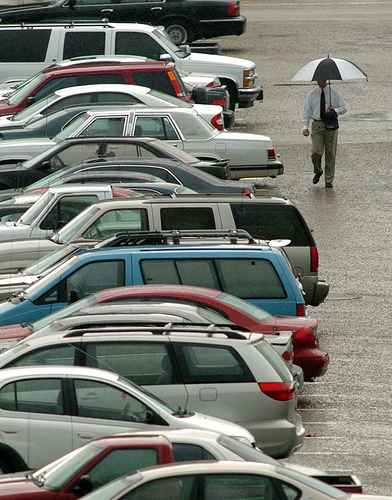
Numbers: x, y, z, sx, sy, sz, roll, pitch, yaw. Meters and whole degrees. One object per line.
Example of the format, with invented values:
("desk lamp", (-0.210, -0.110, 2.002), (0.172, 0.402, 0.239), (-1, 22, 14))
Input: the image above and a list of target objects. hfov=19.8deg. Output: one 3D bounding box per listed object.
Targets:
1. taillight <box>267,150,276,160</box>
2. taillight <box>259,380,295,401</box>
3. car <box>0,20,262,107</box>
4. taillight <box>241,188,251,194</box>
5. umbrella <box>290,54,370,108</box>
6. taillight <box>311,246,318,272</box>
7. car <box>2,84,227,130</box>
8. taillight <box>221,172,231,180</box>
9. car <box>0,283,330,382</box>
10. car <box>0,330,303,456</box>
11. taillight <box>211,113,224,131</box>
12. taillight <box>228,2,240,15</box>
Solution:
("taillight", (1.193, -1.504, 17.748), (0.175, 0.141, 0.129), (-1, 1, 7))
("taillight", (0.656, 1.155, 9.138), (0.204, 0.066, 0.202), (1, 7, 7))
("car", (-1.300, -3.787, 22.975), (5.384, 1.497, 1.904), (-1, 16, -2))
("taillight", (0.653, -0.769, 14.648), (0.101, 0.031, 0.086), (3, 7, 17))
("umbrella", (2.284, -2.929, 19.102), (1.089, 0.734, 1.052), (-14, 19, -33))
("taillight", (1.392, 0.117, 13.273), (0.066, 0.290, 0.154), (-1, 27, 17))
("car", (-1.391, -2.521, 18.597), (3.193, 0.817, 1.306), (2, 8, 2))
("taillight", (0.441, -1.072, 16.300), (0.132, 0.104, 0.096), (-22, 6, -8))
("car", (-0.224, 0.818, 10.794), (3.323, 0.897, 1.122), (1, 2, 1))
("car", (-0.250, 1.128, 9.205), (2.552, 0.727, 0.990), (2, 2, 0))
("taillight", (0.349, -2.167, 18.908), (0.210, 0.251, 0.107), (1, 5, -34))
("taillight", (0.904, -5.843, 27.017), (0.161, 0.364, 0.438), (3, 27, 25))
